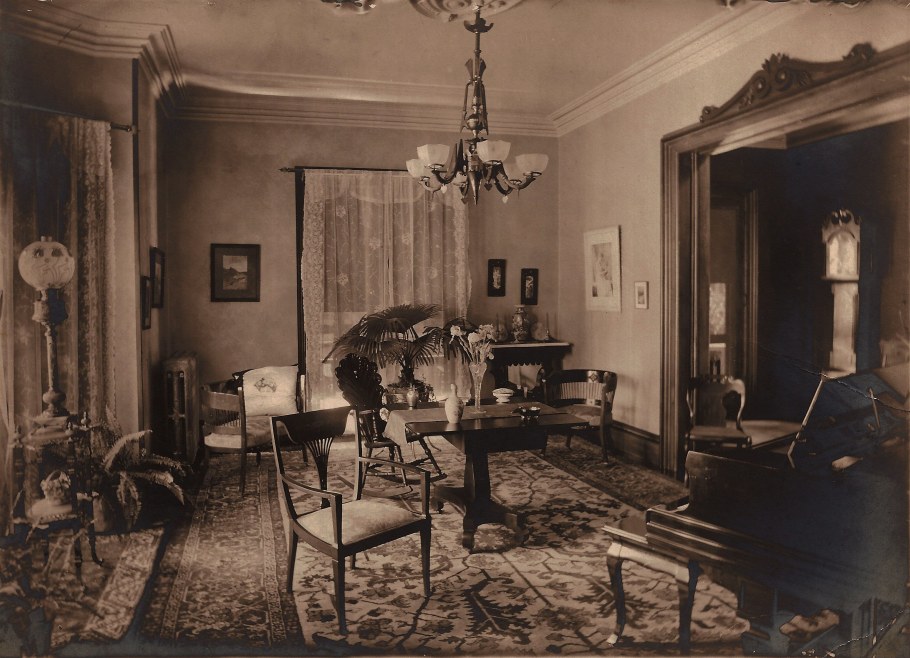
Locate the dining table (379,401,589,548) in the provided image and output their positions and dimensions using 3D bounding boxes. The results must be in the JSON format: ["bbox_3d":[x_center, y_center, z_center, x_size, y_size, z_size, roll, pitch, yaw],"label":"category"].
[{"bbox_3d":[0.192,1.022,6.334,1.195,0.791,1.118,1,0,-20],"label":"dining table"}]

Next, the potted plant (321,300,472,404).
[{"bbox_3d":[-0.432,0.195,8.567,1.070,0.781,1.299,-2,-4,-5],"label":"potted plant"}]

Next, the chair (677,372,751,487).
[{"bbox_3d":[2.315,0.861,6.966,0.679,0.911,0.687,2,2,-16],"label":"chair"}]

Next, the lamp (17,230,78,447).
[{"bbox_3d":[-3.120,0.094,6.085,0.395,1.513,0.692,-5,14,-16],"label":"lamp"}]

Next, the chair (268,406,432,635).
[{"bbox_3d":[-0.691,1.254,5.471,1.053,1.260,1.089,2,6,9],"label":"chair"}]

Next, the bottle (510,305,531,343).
[{"bbox_3d":[0.789,-0.070,8.994,0.222,0.366,0.452,1,14,6],"label":"bottle"}]

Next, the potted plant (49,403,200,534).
[{"bbox_3d":[-2.843,1.113,6.248,1.268,0.469,1.236,2,10,-19],"label":"potted plant"}]

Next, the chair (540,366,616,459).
[{"bbox_3d":[1.299,0.881,8.263,0.813,1.001,0.737,4,9,17],"label":"chair"}]

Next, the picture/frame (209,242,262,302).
[{"bbox_3d":[-2.343,-0.614,8.369,0.598,0.756,0.053,-1,2,-17],"label":"picture/frame"}]

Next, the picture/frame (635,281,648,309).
[{"bbox_3d":[1.840,-0.336,7.702,0.035,0.372,0.259,1,-2,-18],"label":"picture/frame"}]

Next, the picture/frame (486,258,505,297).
[{"bbox_3d":[0.499,-0.584,9.066,0.232,0.432,0.116,-1,13,-2],"label":"picture/frame"}]

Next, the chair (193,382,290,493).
[{"bbox_3d":[-2.069,0.905,7.352,0.752,0.941,1.227,2,6,2],"label":"chair"}]
